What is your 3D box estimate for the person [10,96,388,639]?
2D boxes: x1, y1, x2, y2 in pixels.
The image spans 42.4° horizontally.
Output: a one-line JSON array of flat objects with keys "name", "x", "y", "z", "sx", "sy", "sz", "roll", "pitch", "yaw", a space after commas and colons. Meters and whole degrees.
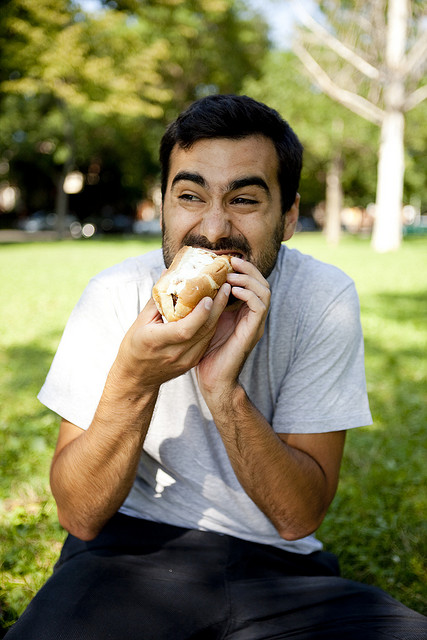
[{"name": "person", "x": 0.004, "y": 0.062, "z": 1.724, "sx": 1.131, "sy": 1.625, "sz": 0.935, "roll": 0, "pitch": 9, "yaw": -18}]
